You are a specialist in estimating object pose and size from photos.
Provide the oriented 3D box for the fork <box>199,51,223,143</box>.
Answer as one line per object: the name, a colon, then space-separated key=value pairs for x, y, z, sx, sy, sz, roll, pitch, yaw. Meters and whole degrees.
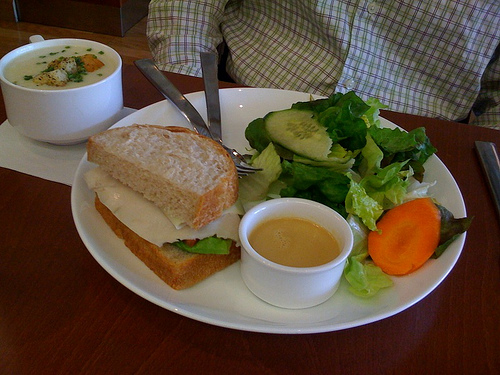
fork: x=-0.155 y=-0.364 z=1.349 sx=0.058 sy=0.050 sz=0.424 roll=-11 pitch=67 yaw=-5

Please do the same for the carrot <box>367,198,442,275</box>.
carrot: x=0.387 y=0.144 z=0.944 sx=0.146 sy=0.027 sz=0.203 roll=32 pitch=81 yaw=30

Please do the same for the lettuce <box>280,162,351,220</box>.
lettuce: x=0.205 y=-0.010 z=1.106 sx=0.191 sy=0.067 sz=0.133 roll=15 pitch=92 yaw=23

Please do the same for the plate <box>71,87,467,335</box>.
plate: x=0.062 y=0.013 z=1.062 sx=1.084 sy=0.125 sz=0.837 roll=17 pitch=51 yaw=8

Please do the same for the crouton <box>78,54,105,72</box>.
crouton: x=-0.498 y=-0.395 z=1.189 sx=0.057 sy=0.014 sz=0.059 roll=21 pitch=58 yaw=-24

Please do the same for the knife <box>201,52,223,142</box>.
knife: x=-0.149 y=-0.358 z=1.336 sx=0.055 sy=0.047 sz=0.408 roll=-7 pitch=68 yaw=-14

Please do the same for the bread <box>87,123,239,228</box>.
bread: x=-0.210 y=-0.068 z=1.008 sx=0.441 sy=0.122 sz=0.260 roll=27 pitch=43 yaw=17

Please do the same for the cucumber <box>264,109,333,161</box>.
cucumber: x=0.176 y=-0.178 z=1.145 sx=0.142 sy=0.144 sz=0.229 roll=-19 pitch=29 yaw=-38

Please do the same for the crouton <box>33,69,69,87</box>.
crouton: x=-0.582 y=-0.323 z=1.094 sx=0.081 sy=0.020 sz=0.050 roll=0 pitch=47 yaw=-13

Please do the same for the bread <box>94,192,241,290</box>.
bread: x=-0.198 y=0.168 z=0.990 sx=0.298 sy=0.187 sz=0.236 roll=17 pitch=26 yaw=32

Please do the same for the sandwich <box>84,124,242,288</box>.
sandwich: x=-0.252 y=0.008 z=1.063 sx=0.515 sy=0.256 sz=0.321 roll=27 pitch=35 yaw=26

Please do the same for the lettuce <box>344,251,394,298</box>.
lettuce: x=0.287 y=0.214 z=0.915 sx=0.113 sy=0.037 sz=0.106 roll=-17 pitch=54 yaw=-19

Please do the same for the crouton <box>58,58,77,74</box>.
crouton: x=-0.550 y=-0.371 z=1.130 sx=0.047 sy=0.011 sz=0.049 roll=-26 pitch=98 yaw=-40
